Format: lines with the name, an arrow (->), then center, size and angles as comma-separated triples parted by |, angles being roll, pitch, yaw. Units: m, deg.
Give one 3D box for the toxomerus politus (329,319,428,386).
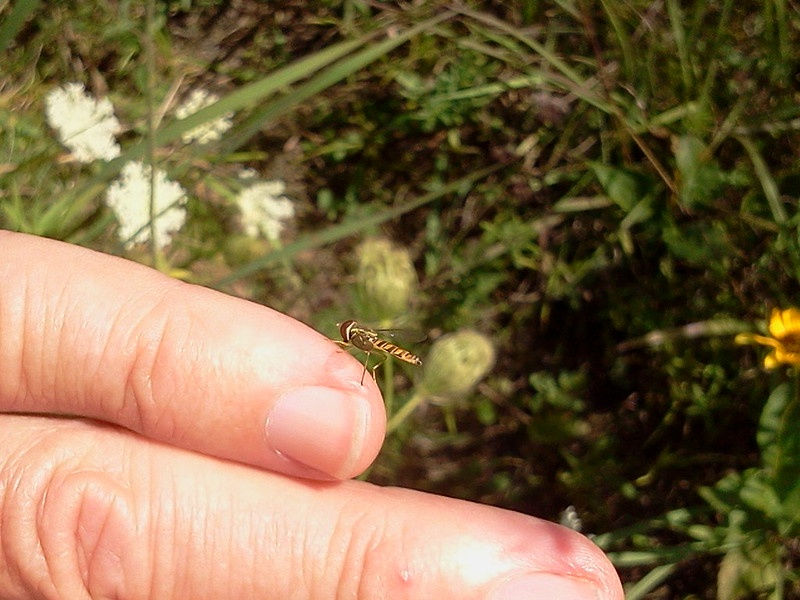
toxomerus politus -> -0.089, 0.132, 2.116 | 0.280, 0.236, 0.119 | 17, 96, -2
